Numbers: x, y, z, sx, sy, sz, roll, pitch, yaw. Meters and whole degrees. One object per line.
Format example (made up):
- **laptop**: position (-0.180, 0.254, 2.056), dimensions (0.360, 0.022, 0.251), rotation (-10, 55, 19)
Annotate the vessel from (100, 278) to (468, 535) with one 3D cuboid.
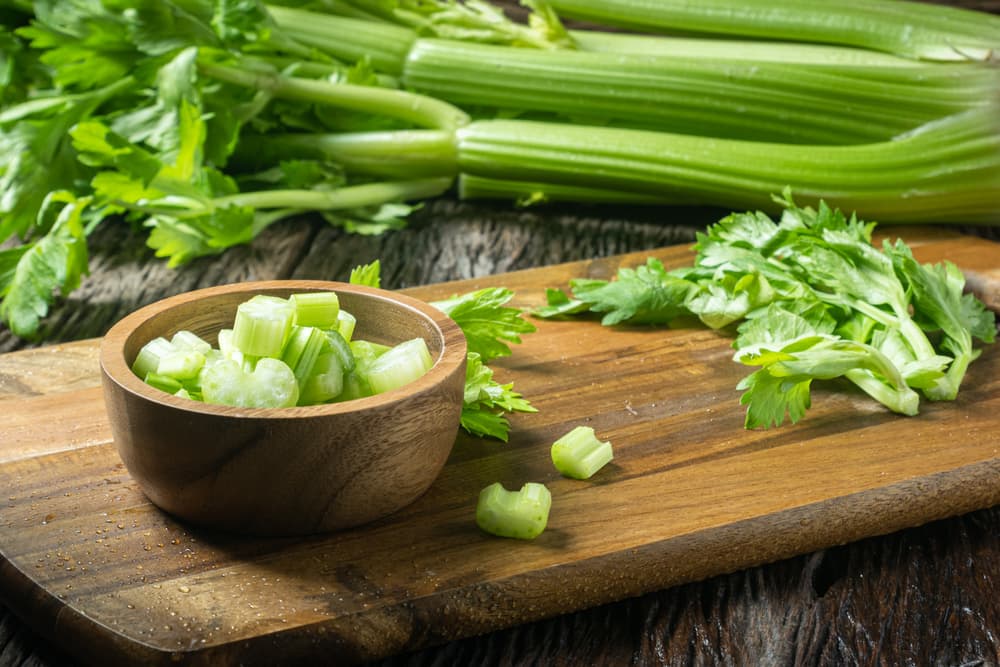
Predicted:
- **vessel**: position (-0.265, 0.067, 1.103), dimensions (0.436, 0.141, 0.361), rotation (7, 29, 5)
